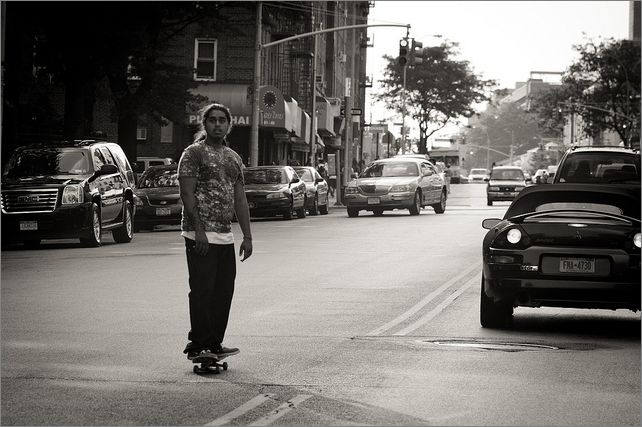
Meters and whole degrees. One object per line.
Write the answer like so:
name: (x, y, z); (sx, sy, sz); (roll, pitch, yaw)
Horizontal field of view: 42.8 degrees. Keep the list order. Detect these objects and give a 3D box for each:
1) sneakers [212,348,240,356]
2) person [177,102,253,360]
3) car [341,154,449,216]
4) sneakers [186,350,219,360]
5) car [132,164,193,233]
sneakers: (-0.938, 1.366, 8.104); (0.272, 0.107, 0.090); (-2, 8, -8)
person: (-1.021, 0.363, 8.022); (0.686, 2.098, 0.458); (-2, 5, -27)
car: (3.044, -1.022, 31.877); (2.133, 2.233, 4.500); (4, 6, 36)
sneakers: (-1.142, 1.343, 7.880); (0.265, 0.112, 0.115); (-2, -4, 3)
car: (-5.434, -0.511, 26.466); (1.942, 2.116, 4.135); (-1, -2, -1)
